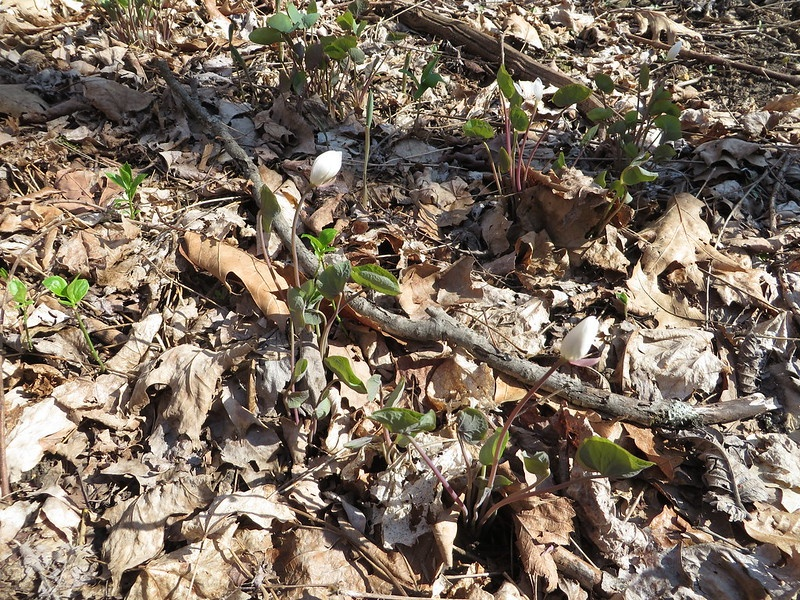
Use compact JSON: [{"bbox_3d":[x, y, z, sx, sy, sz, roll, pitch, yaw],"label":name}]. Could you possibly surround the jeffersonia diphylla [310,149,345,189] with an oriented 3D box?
[{"bbox_3d":[-0.337,-0.594,3.455,0.124,0.209,0.161,-3,42,-9],"label":"jeffersonia diphylla"}]
